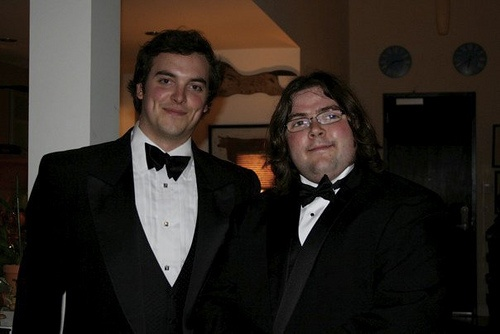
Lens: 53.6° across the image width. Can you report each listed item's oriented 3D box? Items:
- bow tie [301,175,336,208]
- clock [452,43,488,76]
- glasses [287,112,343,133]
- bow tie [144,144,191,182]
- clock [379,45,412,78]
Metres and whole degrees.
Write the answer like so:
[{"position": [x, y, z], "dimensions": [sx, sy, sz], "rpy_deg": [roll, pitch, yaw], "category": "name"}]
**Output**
[{"position": [0.328, 0.118, 2.448], "dimensions": [0.234, 0.085, 0.133], "rpy_deg": [-19, 25, 18], "category": "bow tie"}, {"position": [2.961, -1.461, 6.684], "dimensions": [0.438, 0.469, 0.018], "rpy_deg": [1, 0, 8], "category": "clock"}, {"position": [0.338, -0.237, 2.594], "dimensions": [0.294, 0.103, 0.108], "rpy_deg": [5, 5, 7], "category": "glasses"}, {"position": [-0.434, -0.016, 2.548], "dimensions": [0.243, 0.144, 0.037], "rpy_deg": [20, 1, -30], "category": "bow tie"}, {"position": [2.003, -1.462, 6.838], "dimensions": [0.438, 0.448, 0.450], "rpy_deg": [3, 14, 42], "category": "clock"}]
